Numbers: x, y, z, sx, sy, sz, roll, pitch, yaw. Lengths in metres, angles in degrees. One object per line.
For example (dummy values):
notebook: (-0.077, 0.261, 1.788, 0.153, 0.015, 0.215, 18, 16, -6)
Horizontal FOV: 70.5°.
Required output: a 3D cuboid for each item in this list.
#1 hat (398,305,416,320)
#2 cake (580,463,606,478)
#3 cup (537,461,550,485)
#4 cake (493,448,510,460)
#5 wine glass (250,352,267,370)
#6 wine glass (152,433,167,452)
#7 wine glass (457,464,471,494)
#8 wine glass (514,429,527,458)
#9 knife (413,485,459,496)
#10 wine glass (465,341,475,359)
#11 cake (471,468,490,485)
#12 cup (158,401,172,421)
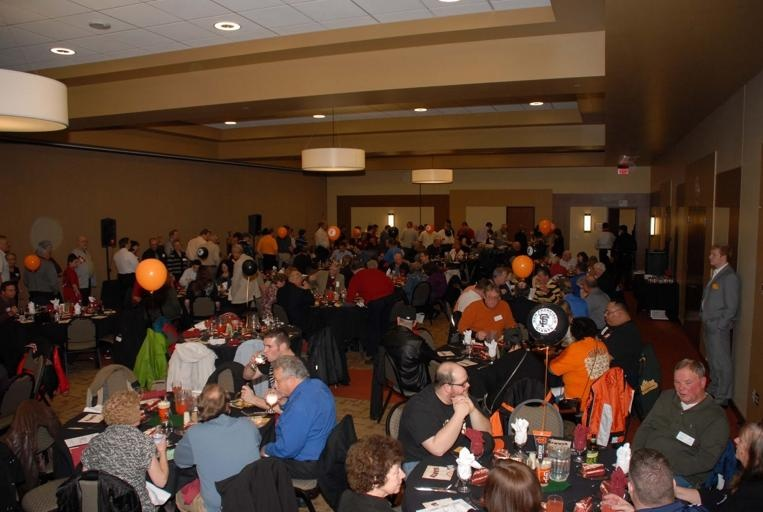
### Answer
hat: (0.328, 0.729, 6.858, 0.218, 0.179, 0.243, 0, -1, 4)
cake: (1.769, 1.790, 4.490, 0.212, 0.078, 0.155, 0, -1, 12)
cup: (1.307, 1.757, 4.392, 0.075, 0.196, 0.117, 1, -1, -39)
cake: (1.039, 1.714, 4.667, 0.139, 0.046, 0.212, 0, -2, 13)
wine glass: (-1.386, 1.176, 6.122, 0.153, 0.169, 0.120, 30, 0, -40)
wine glass: (-1.918, 1.618, 4.676, 0.128, 0.141, 0.162, 0, -10, 7)
wine glass: (0.668, 1.769, 4.338, 0.133, 0.218, 0.209, 0, -1, 8)
wine glass: (1.225, 1.625, 4.750, 0.111, 0.216, 0.297, 0, -1, 15)
knife: (0.445, 1.862, 4.284, 0.318, 0.016, 0.106, 1, 23, 1)
wine glass: (1.166, 1.227, 6.958, 0.131, 0.252, 0.129, 10, -17, -40)
cake: (0.809, 1.795, 4.399, 0.122, 0.091, 0.204, 0, -2, 21)
cup: (-2.098, 1.505, 5.216, 0.117, 0.182, 0.180, 2, 3, -11)
